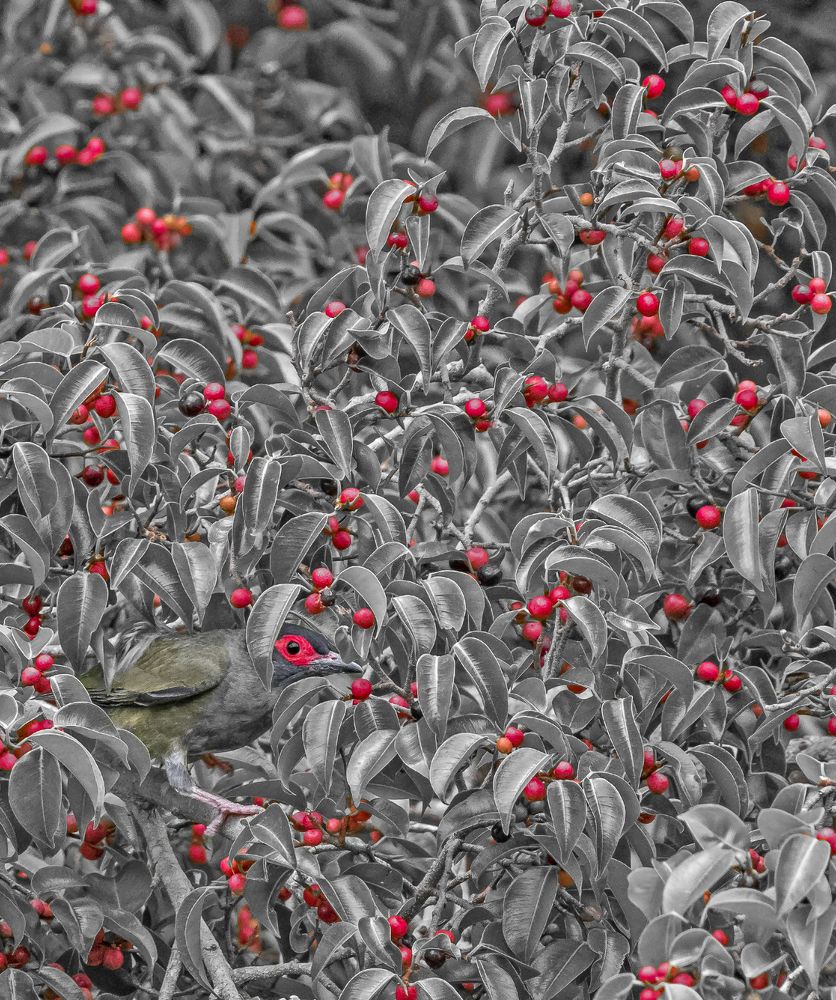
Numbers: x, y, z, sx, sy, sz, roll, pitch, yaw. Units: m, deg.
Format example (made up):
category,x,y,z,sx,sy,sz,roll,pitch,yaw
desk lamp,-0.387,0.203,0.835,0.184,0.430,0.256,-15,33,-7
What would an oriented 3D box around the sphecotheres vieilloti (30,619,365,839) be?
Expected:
category,x,y,z,sx,sy,sz,roll,pitch,yaw
sphecotheres vieilloti,-0.501,0.364,3.927,0.716,0.268,0.401,15,94,28
